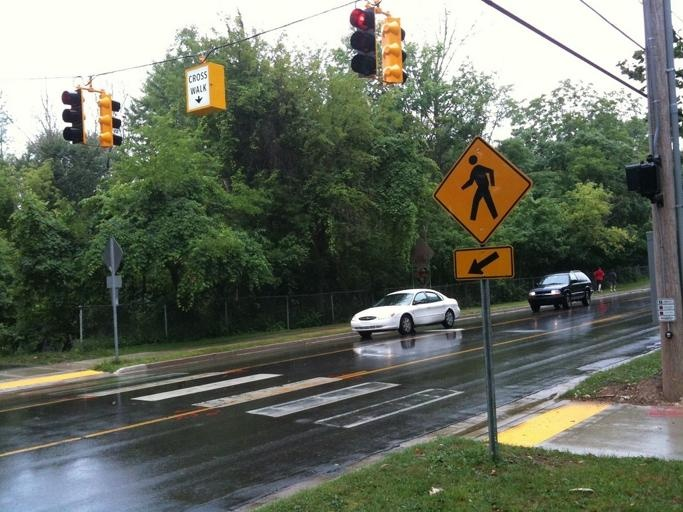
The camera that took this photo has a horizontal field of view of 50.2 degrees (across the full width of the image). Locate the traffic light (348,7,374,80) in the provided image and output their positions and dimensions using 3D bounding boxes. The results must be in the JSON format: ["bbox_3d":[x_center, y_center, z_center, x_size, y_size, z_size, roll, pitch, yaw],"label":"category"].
[{"bbox_3d":[0.492,-4.660,15.817,0.632,1.516,0.397,-3,3,-15],"label":"traffic light"}]

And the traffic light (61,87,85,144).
[{"bbox_3d":[-6.710,-3.545,18.178,0.507,1.392,0.918,-3,3,-21],"label":"traffic light"}]

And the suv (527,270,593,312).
[{"bbox_3d":[11.211,1.760,37.469,1.767,1.548,3.551,-8,-10,36],"label":"suv"}]

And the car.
[{"bbox_3d":[2.462,2.166,28.188,1.664,1.662,4.569,0,3,43],"label":"car"}]

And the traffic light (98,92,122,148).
[{"bbox_3d":[-6.042,-3.561,18.918,0.588,1.452,2.344,-3,2,-17],"label":"traffic light"}]

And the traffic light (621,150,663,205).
[{"bbox_3d":[5.891,-1.469,14.117,0.843,0.987,0.497,-4,3,-31],"label":"traffic light"}]

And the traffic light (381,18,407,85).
[{"bbox_3d":[1.127,-4.567,15.995,0.509,1.517,0.735,-2,3,4],"label":"traffic light"}]
